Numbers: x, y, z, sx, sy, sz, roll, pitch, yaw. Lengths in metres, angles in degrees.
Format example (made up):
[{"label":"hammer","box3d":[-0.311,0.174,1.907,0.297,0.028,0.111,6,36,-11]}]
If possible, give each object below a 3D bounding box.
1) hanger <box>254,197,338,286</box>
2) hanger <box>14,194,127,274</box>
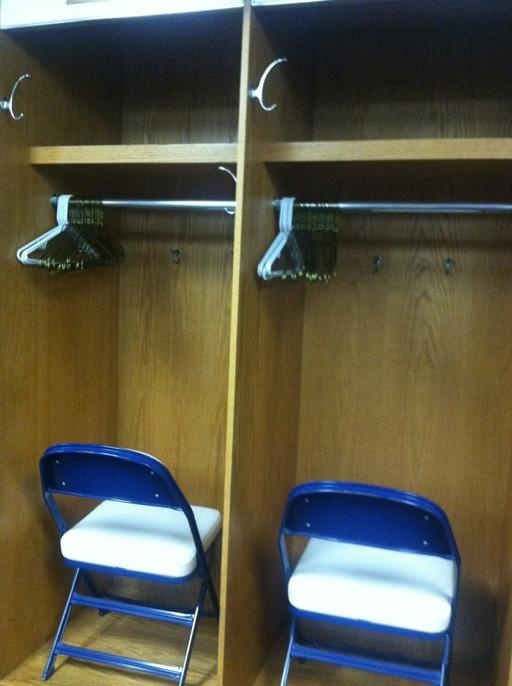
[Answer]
[{"label":"hanger","box3d":[0.152,-0.327,2.170,0.204,0.331,0.100,-12,22,-35]},{"label":"hanger","box3d":[-0.634,-0.294,2.266,0.202,0.310,0.377,12,15,39]}]
